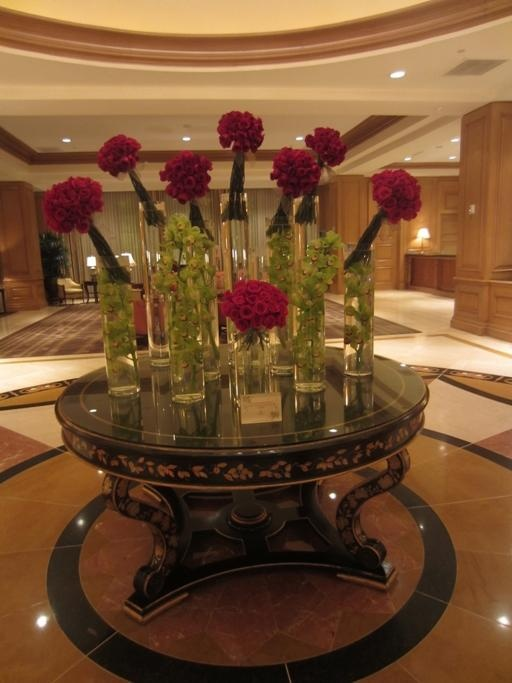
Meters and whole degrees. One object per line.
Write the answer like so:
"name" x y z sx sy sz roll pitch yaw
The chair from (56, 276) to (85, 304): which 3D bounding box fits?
"chair" -4.614 -1.308 12.388 0.659 0.762 0.691 9 11 38
